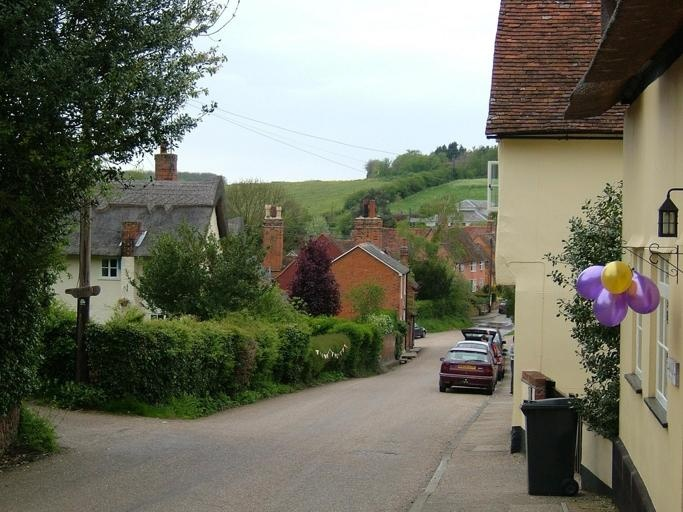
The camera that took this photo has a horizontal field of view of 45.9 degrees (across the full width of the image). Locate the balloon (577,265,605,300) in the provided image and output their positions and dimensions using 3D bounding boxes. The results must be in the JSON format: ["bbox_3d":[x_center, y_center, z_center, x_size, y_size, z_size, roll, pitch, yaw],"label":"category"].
[{"bbox_3d":[3.592,0.346,11.799,0.325,0.495,0.348,29,25,1],"label":"balloon"}]

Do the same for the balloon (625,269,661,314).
[{"bbox_3d":[4.080,0.441,11.040,0.401,0.775,0.457,-10,16,10],"label":"balloon"}]

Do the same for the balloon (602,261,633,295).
[{"bbox_3d":[3.734,0.335,11.144,0.351,0.517,0.400,-7,-6,3],"label":"balloon"}]
